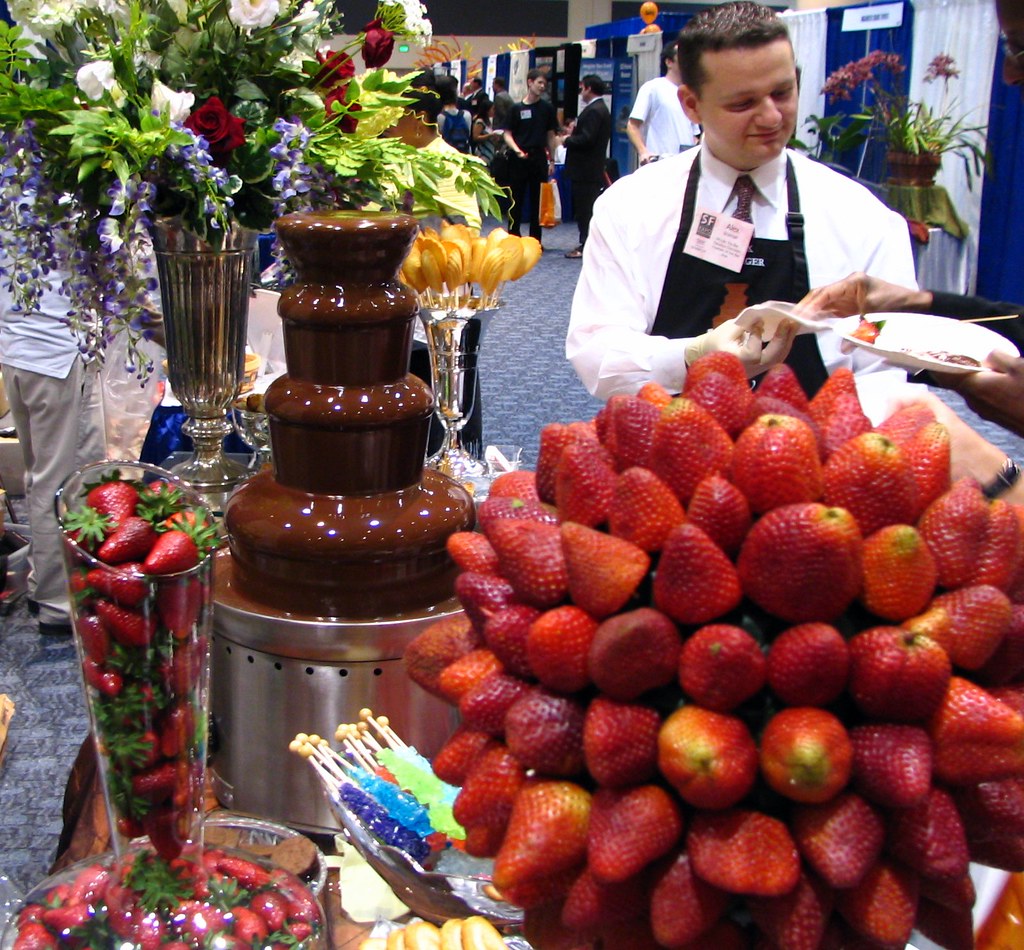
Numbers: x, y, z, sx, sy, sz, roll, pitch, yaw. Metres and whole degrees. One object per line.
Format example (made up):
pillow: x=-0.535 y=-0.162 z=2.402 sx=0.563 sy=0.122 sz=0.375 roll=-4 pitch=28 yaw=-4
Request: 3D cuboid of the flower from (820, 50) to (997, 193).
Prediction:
flower: x=3.161 y=-2.841 z=6.646 sx=1.400 sy=0.982 sz=1.488 roll=1 pitch=16 yaw=5

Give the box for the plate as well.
plate: x=0.703 y=-0.228 z=1.424 sx=0.282 sy=0.052 sz=0.243 roll=9 pitch=19 yaw=13

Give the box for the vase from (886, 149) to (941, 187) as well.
vase: x=3.027 y=-2.309 z=6.139 sx=0.315 sy=0.173 sz=0.301 roll=1 pitch=5 yaw=-2
